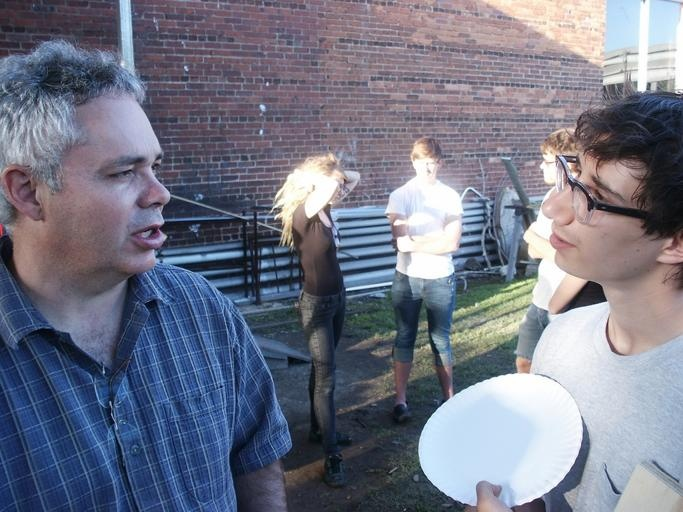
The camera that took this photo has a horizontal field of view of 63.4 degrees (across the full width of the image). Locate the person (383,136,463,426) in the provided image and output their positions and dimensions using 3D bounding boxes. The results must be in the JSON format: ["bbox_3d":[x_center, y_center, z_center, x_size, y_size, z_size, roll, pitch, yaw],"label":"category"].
[{"bbox_3d":[0.719,0.182,4.653,0.627,2.305,0.669,-2,12,4],"label":"person"}]

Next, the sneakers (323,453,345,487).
[{"bbox_3d":[-0.039,1.535,3.905,0.135,0.233,0.236,-8,1,-5],"label":"sneakers"}]

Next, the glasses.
[{"bbox_3d":[0.818,-0.194,1.727,0.220,0.071,0.226,3,35,-14],"label":"glasses"}]

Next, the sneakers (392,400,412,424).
[{"bbox_3d":[0.507,1.318,4.637,0.151,0.098,0.281,-4,-5,5],"label":"sneakers"}]
